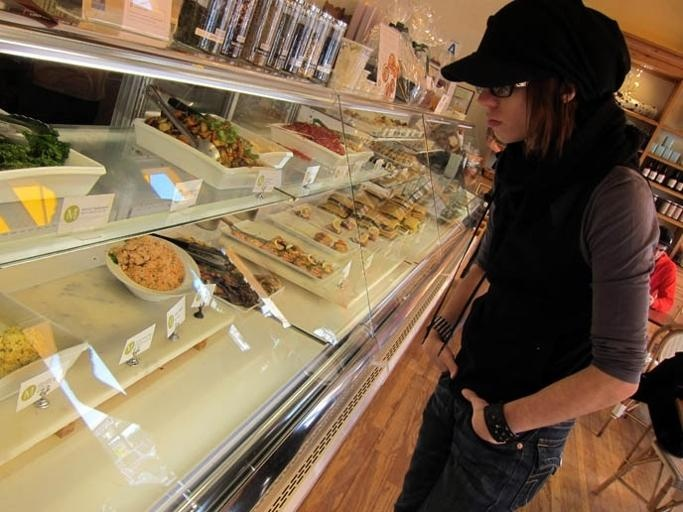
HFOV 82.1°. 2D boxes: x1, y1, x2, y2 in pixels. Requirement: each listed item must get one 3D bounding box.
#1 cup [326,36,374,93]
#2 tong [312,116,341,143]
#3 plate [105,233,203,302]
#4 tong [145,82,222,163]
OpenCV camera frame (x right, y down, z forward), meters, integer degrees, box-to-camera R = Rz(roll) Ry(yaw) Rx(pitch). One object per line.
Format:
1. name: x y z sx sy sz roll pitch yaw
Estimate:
1. cup: 0.035 -0.794 1.724 0.256 0.309 0.125 1 23 6
2. tong: -0.075 -0.463 1.474 0.019 0.048 0.144 27 4 36
3. plate: -0.482 0.061 0.994 0.181 0.062 0.185 26 24 -9
4. tong: -0.378 -0.324 0.952 0.179 0.141 0.042 13 29 -6
